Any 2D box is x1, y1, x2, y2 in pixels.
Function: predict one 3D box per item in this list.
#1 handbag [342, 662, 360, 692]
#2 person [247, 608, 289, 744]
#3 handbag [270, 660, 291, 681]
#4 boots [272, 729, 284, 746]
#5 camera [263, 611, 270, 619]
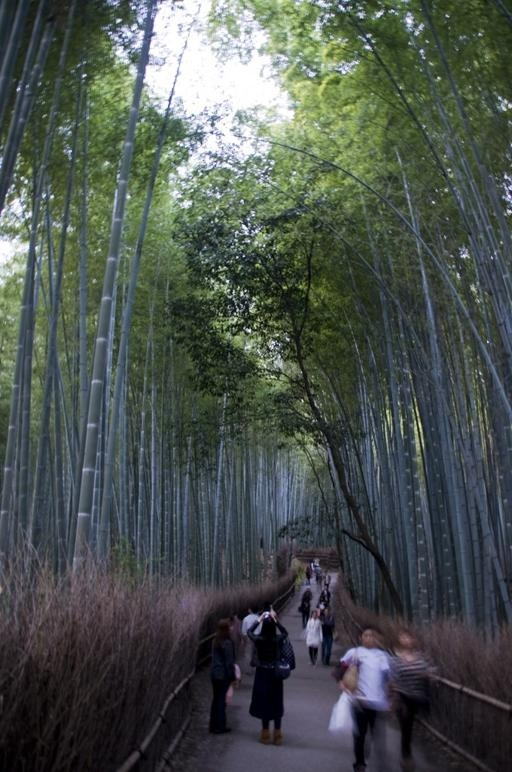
[{"bbox_3d":[0.466,1.410,2.976,0.061,0.201,0.096,5,-45,8],"label":"handbag"},{"bbox_3d":[0.087,1.979,4.233,0.270,0.816,0.714,-3,-14,2],"label":"person"},{"bbox_3d":[0.159,1.894,4.102,0.055,0.138,0.127,-34,-33,19],"label":"handbag"},{"bbox_3d":[0.129,2.221,3.884,0.038,0.063,0.133,1,-13,5],"label":"boots"},{"bbox_3d":[0.070,1.582,4.249,0.022,0.049,0.043,1,0,15],"label":"camera"}]
